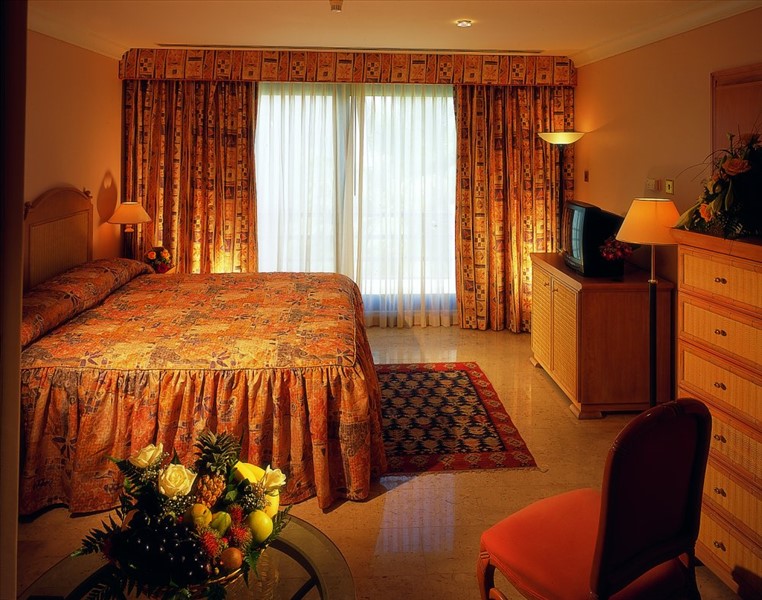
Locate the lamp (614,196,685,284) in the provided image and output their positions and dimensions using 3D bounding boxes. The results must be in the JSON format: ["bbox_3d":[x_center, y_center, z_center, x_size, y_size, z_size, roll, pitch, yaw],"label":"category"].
[{"bbox_3d":[1.629,-0.426,3.353,0.315,0.639,0.365,3,10,-12],"label":"lamp"}]

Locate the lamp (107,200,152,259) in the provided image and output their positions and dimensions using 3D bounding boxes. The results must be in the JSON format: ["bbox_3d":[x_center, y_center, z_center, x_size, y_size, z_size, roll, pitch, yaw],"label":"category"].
[{"bbox_3d":[-2.395,-0.746,5.534,0.336,0.664,0.438,0,7,0],"label":"lamp"}]

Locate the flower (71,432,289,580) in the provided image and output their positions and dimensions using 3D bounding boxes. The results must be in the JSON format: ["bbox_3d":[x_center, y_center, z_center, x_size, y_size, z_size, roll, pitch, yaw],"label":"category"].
[{"bbox_3d":[-0.579,0.483,1.681,0.418,0.286,0.438,13,9,32],"label":"flower"}]

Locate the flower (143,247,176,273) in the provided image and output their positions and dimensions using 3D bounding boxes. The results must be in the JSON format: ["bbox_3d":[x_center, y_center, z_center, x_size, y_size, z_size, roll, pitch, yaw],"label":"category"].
[{"bbox_3d":[-2.223,-0.411,5.847,0.261,0.317,0.278,-2,5,-19],"label":"flower"}]

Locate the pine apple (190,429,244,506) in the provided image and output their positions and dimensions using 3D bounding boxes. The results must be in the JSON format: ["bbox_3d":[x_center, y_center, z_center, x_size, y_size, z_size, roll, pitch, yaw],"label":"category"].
[{"bbox_3d":[-0.500,0.509,1.718,0.105,0.233,0.118,5,-2,-4],"label":"pine apple"}]
